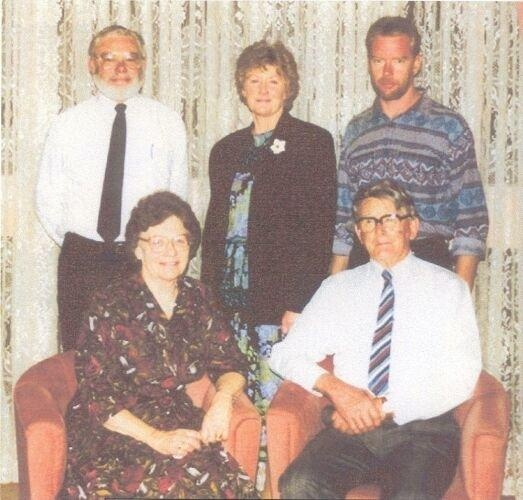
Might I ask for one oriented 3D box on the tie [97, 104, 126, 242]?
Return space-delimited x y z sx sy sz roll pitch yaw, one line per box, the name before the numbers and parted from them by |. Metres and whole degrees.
tie | -0.608 -0.325 3.241 0.092 0.618 0.049 5 -14 -3
